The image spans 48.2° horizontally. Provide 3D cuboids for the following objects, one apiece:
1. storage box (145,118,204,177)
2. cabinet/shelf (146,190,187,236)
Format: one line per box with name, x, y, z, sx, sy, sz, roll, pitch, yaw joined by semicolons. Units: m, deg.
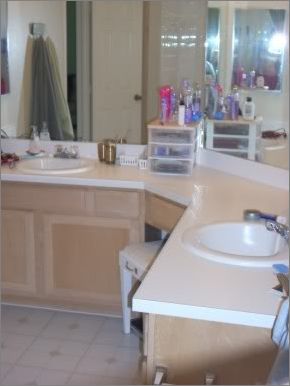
storage box;0.203;-0.300;2.164;0.321;0.338;0.353;3;10;11
cabinet/shelf;0.108;0.094;1.663;0.105;0.160;0.198;-9;25;-45
